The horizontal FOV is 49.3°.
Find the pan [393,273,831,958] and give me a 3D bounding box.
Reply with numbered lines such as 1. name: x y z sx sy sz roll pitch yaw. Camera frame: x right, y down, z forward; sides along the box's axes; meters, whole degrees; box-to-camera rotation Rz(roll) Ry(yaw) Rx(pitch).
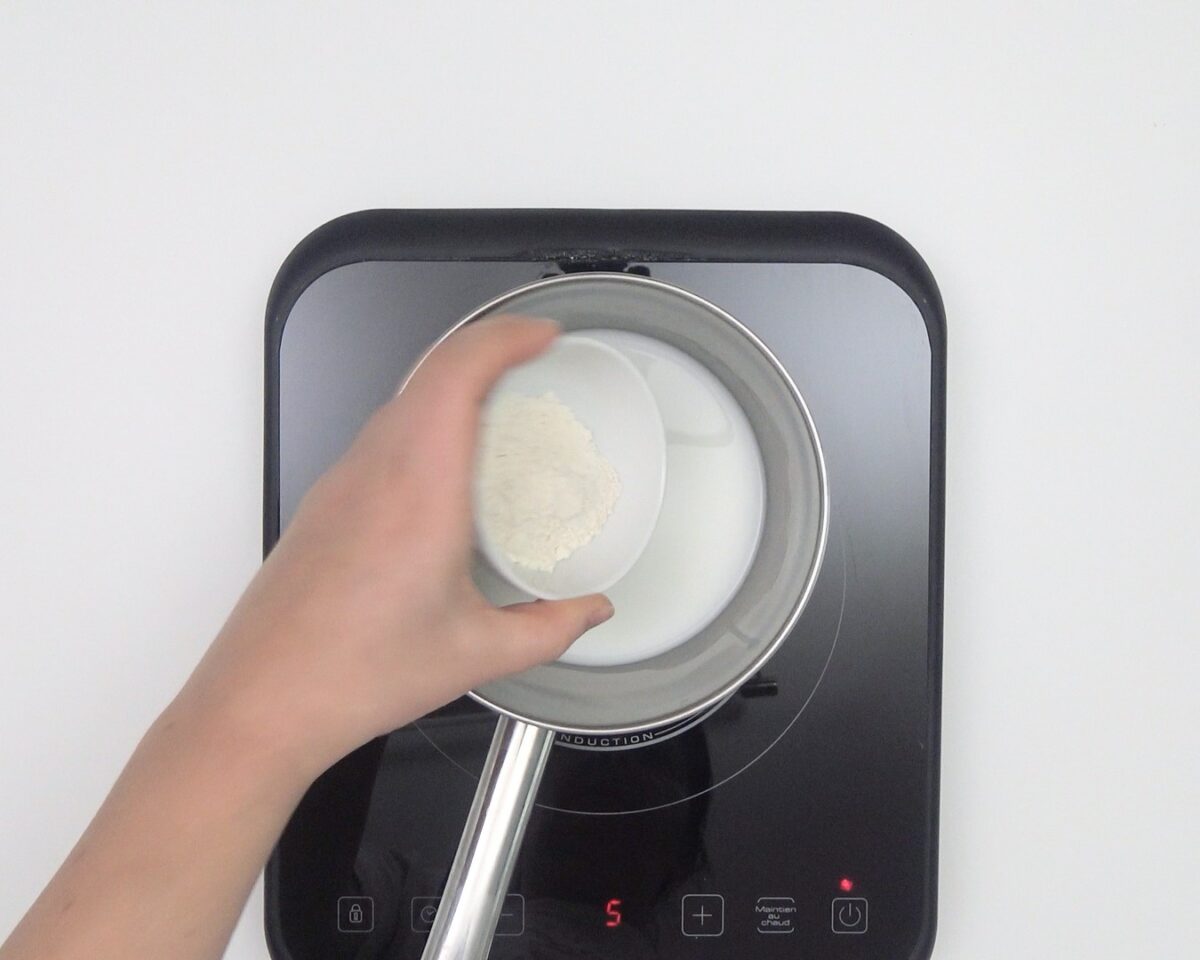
1. pan: 0.019 0.107 1.089 0.338 0.191 0.540 -3 79 3
